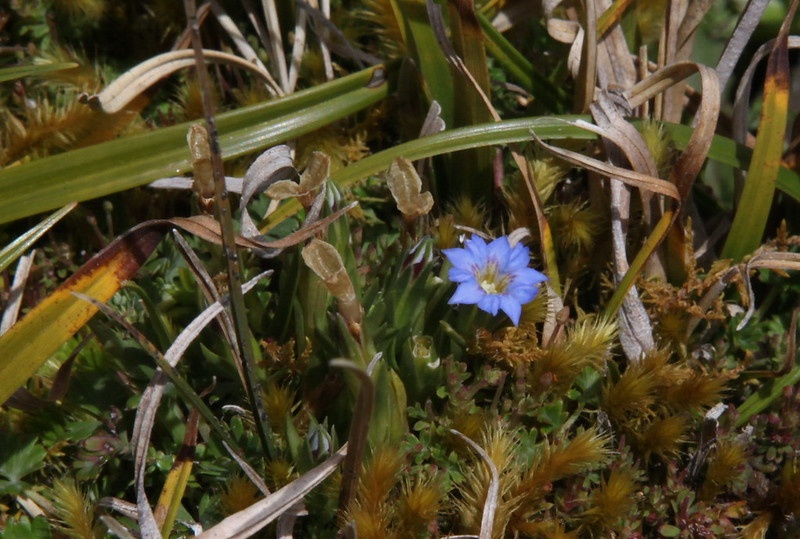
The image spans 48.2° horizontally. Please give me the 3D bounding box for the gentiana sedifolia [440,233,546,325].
[{"bbox_3d":[0.176,0.020,1.803,0.167,0.238,0.090,1,71,3],"label":"gentiana sedifolia"}]
